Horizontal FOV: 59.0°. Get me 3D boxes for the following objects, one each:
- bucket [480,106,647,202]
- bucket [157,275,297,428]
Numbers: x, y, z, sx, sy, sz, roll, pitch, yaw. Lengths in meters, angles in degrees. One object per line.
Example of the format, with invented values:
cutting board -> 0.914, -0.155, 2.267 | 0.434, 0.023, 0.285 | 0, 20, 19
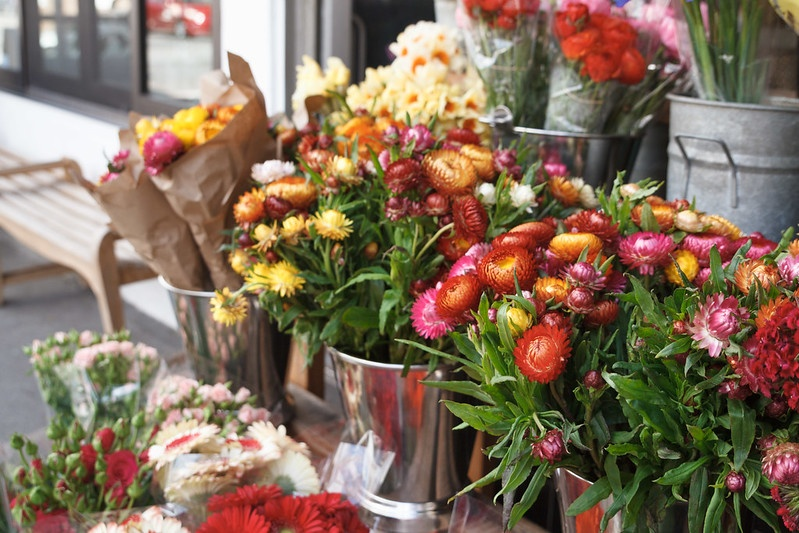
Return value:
bucket -> 0.305, -0.258, 1.292 | 0.208, 0.175, 0.213 | 1, 19, 0
bucket -> -0.321, 0.128, 1.315 | 0.165, 0.206, 0.152 | 2, 21, -1
